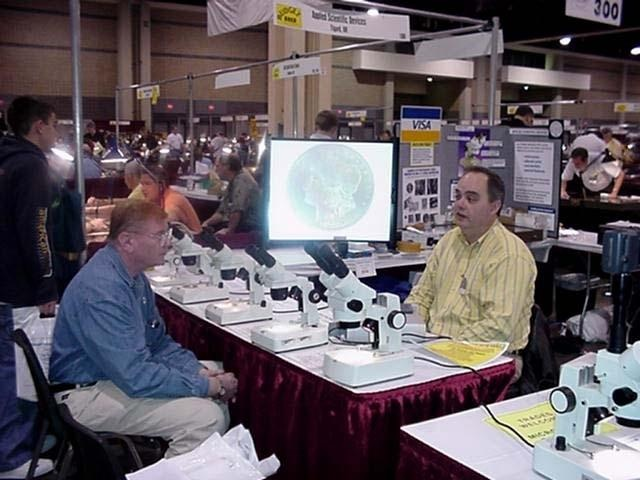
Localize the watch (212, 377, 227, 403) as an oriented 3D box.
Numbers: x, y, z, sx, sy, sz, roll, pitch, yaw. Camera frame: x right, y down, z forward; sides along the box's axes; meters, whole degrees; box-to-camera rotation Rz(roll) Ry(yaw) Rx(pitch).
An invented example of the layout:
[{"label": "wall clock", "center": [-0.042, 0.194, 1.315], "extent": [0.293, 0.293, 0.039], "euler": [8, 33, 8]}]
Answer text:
[{"label": "watch", "center": [-0.444, 0.662, 2.230], "extent": [0.037, 0.087, 0.092], "euler": [-15, -2, -17]}]

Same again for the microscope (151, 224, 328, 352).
[{"label": "microscope", "center": [-0.347, 0.125, 2.739], "extent": [0.386, 0.790, 1.306], "euler": [-11, 19, -44]}]
